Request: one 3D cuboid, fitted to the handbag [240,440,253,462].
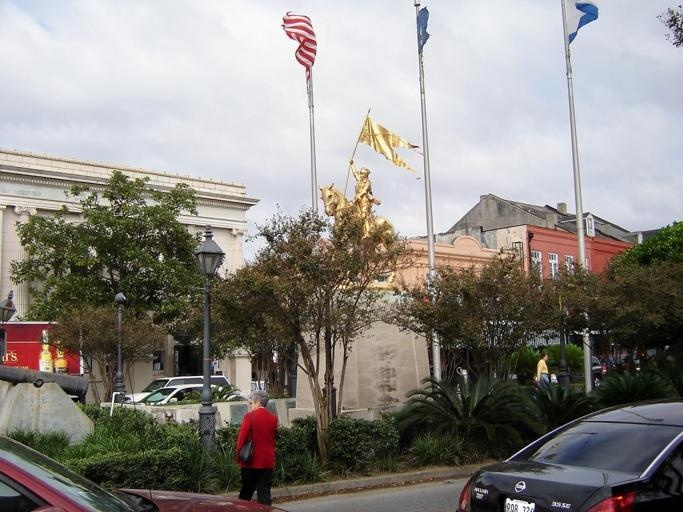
[{"bbox_3d":[-1.437,2.935,12.229,0.106,0.275,0.256,27,-23,-32],"label":"handbag"}]

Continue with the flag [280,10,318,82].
[{"bbox_3d":[-1.526,-7.497,28.885,1.098,2.390,2.108,1,-12,0],"label":"flag"}]
